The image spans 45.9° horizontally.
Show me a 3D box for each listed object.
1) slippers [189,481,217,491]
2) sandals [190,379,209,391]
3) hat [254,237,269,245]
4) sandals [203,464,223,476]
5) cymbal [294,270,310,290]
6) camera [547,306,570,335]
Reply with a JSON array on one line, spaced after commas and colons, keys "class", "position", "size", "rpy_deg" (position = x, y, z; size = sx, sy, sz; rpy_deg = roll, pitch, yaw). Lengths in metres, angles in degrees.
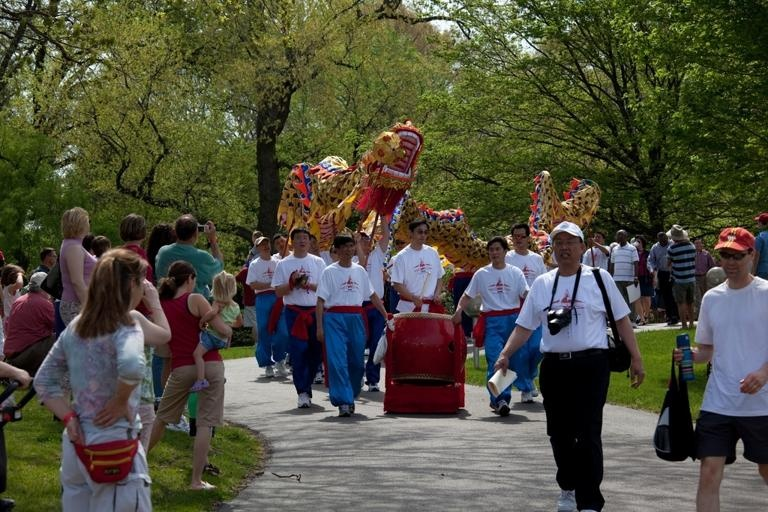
[{"class": "slippers", "position": [-2.175, 2.761, 10.848], "size": [0.223, 0.081, 0.122], "rpy_deg": [-1, 9, -17]}, {"class": "sandals", "position": [-2.222, 1.561, 10.936], "size": [0.243, 0.120, 0.101], "rpy_deg": [-27, 15, 25]}, {"class": "hat", "position": [-2.452, -0.332, 17.816], "size": [0.234, 0.116, 0.359], "rpy_deg": [-11, -8, -30]}, {"class": "sandals", "position": [-2.163, 2.682, 11.323], "size": [0.096, 0.104, 0.220], "rpy_deg": [-3, 10, -30]}, {"class": "cymbal", "position": [-1.421, 0.421, 15.568], "size": [0.218, 0.272, 0.244], "rpy_deg": [-2, 28, 3]}, {"class": "camera", "position": [1.988, 0.707, 10.213], "size": [0.241, 0.300, 0.280], "rpy_deg": [10, 12, 38]}]
